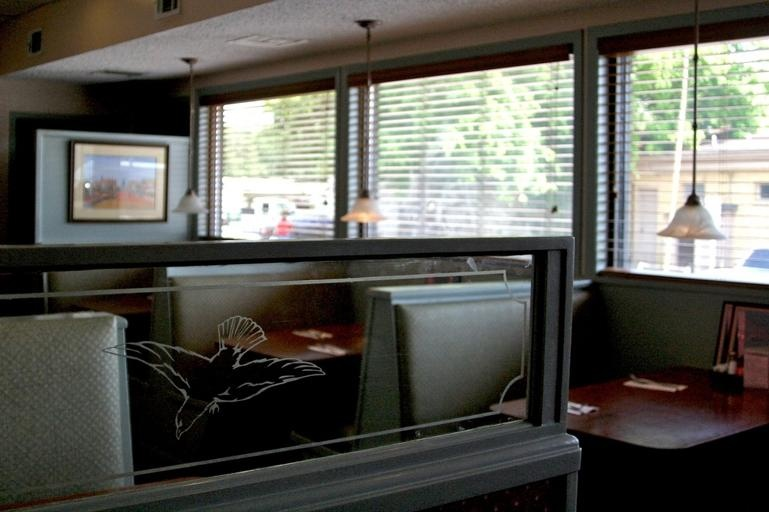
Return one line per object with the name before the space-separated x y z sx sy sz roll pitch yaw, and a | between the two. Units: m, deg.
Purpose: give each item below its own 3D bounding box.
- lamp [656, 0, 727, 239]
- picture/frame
lamp | 1.451 -0.638 2.843 0.254 1.182 0.659 4 8 27
picture/frame | -2.446 -0.670 5.601 1.016 0.736 0.074 0 1 -26
